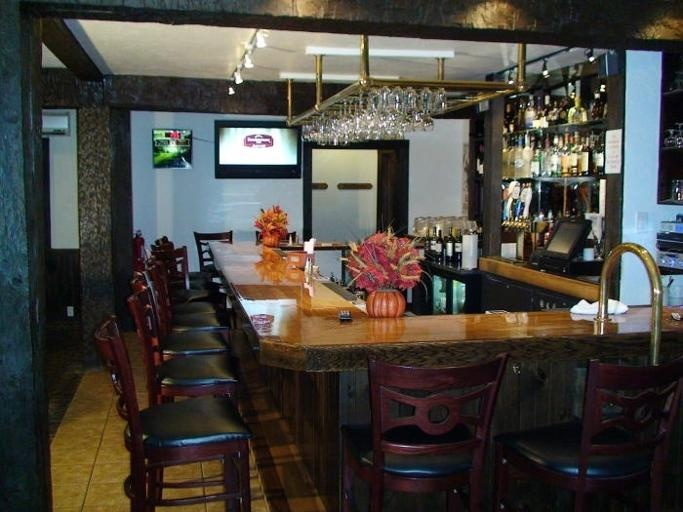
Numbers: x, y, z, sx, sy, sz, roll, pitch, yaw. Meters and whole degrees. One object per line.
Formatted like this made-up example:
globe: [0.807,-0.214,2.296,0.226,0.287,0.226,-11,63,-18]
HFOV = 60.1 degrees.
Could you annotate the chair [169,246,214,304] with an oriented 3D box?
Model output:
chair: [-1.408,0.183,5.768,0.364,0.594,0.344,-4,19,-28]

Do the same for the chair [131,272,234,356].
chair: [-0.991,0.373,3.851,0.577,0.913,0.536,-2,15,-11]

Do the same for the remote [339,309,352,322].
remote: [0.033,0.320,3.188,0.050,0.049,0.051,1,7,-11]

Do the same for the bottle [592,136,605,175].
bottle: [2.423,-0.958,5.579,0.130,0.407,0.134,2,-15,1]

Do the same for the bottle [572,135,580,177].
bottle: [2.313,-0.983,5.759,0.061,0.380,0.211,1,6,21]

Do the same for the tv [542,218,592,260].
tv: [1.823,-0.132,4.775,0.139,0.366,0.356,16,1,-20]

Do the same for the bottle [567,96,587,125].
bottle: [2.352,-1.454,5.844,0.171,0.298,0.314,1,6,19]

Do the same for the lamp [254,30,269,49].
lamp: [-0.666,-1.838,4.925,0.124,0.169,0.050,0,1,-5]

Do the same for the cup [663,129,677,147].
cup: [2.442,-0.873,4.358,0.119,0.148,0.112,-1,14,0]

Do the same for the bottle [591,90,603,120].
bottle: [2.440,-1.424,5.582,0.115,0.279,0.202,1,6,23]

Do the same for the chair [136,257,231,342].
chair: [-1.109,0.318,4.348,0.580,0.842,0.481,-3,18,-9]

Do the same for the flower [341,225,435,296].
flower: [0.229,0.037,3.291,0.383,0.435,0.411,-3,-8,3]

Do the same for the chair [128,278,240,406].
chair: [-0.886,0.683,3.494,0.627,0.934,0.600,2,10,-3]

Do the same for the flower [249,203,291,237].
flower: [-0.845,-0.401,7.438,0.379,0.458,0.436,2,-18,-3]

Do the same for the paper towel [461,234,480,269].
paper towel: [1.258,-0.047,6.024,0.206,0.358,0.195,-5,0,-12]

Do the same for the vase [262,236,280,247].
vase: [-0.872,-0.187,7.379,0.137,0.092,0.144,-2,9,-16]

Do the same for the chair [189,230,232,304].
chair: [-1.716,0.145,7.732,0.464,0.845,0.518,1,6,-4]

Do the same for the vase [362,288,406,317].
vase: [0.251,0.255,3.178,0.160,0.112,0.160,-3,9,-30]

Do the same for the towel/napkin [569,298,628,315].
towel/napkin: [1.449,0.290,3.305,0.169,0.053,0.144,-3,2,-4]

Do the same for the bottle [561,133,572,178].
bottle: [2.242,-1.002,5.854,0.087,0.406,0.240,1,6,20]

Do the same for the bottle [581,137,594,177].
bottle: [2.364,-0.957,5.661,0.114,0.369,0.244,1,6,22]
